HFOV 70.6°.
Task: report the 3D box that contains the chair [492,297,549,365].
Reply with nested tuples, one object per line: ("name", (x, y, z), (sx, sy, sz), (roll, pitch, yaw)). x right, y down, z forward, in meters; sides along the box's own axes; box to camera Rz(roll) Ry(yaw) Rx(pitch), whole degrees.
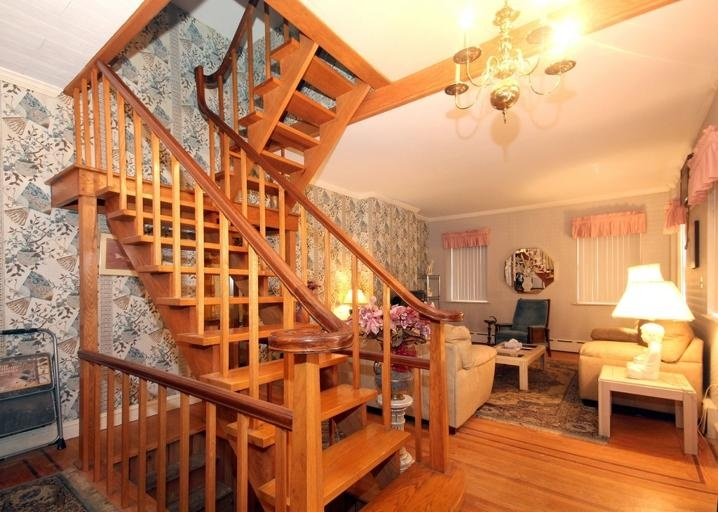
("chair", (2.791, 1.235, 8.654), (0.694, 0.987, 0.703), (8, -7, -40))

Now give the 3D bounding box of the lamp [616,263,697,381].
("lamp", (3.179, 0.668, 5.477), (0.643, 1.135, 1.750), (-3, -3, 32))

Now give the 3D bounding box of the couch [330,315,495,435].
("couch", (0.839, 1.183, 5.820), (1.203, 1.052, 1.165), (-2, -1, 35))

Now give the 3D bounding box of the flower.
("flower", (0.208, 0.598, 4.617), (0.531, 0.359, 0.581), (-10, 4, 28))

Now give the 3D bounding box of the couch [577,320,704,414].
("couch", (3.272, 1.158, 5.942), (0.997, 0.966, 1.438), (0, -3, 28))

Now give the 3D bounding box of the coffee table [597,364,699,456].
("coffee table", (2.884, 1.537, 5.127), (0.875, 0.754, 0.523), (-3, -3, 27))

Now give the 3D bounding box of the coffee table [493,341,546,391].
("coffee table", (2.079, 1.479, 6.617), (0.572, 0.325, 0.834), (-3, 0, 35))

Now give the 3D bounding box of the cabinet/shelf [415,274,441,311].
("cabinet/shelf", (1.480, 0.777, 10.510), (0.587, 0.653, 0.597), (4, -12, 7))

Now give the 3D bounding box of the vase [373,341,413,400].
("vase", (0.324, 1.052, 4.596), (0.384, 0.459, 0.380), (4, 10, 21))
